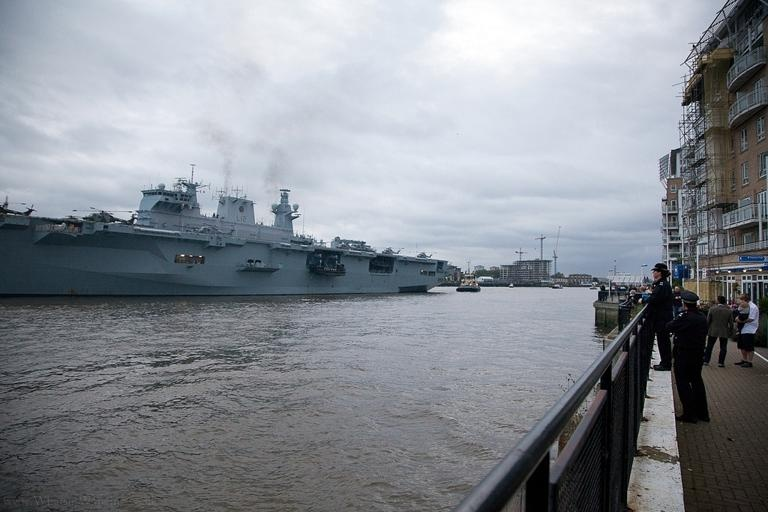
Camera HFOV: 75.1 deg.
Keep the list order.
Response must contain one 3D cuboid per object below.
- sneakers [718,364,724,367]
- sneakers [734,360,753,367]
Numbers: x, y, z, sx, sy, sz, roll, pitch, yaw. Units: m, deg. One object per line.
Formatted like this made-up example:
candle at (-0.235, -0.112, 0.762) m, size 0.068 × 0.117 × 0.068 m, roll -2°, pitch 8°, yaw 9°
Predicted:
sneakers at (7.991, 2.566, 11.854) m, size 0.122 × 0.062 × 0.201 m, roll 3°, pitch 5°, yaw 31°
sneakers at (8.491, 2.557, 11.903) m, size 0.413 × 0.132 × 0.141 m, roll 0°, pitch -4°, yaw 41°
